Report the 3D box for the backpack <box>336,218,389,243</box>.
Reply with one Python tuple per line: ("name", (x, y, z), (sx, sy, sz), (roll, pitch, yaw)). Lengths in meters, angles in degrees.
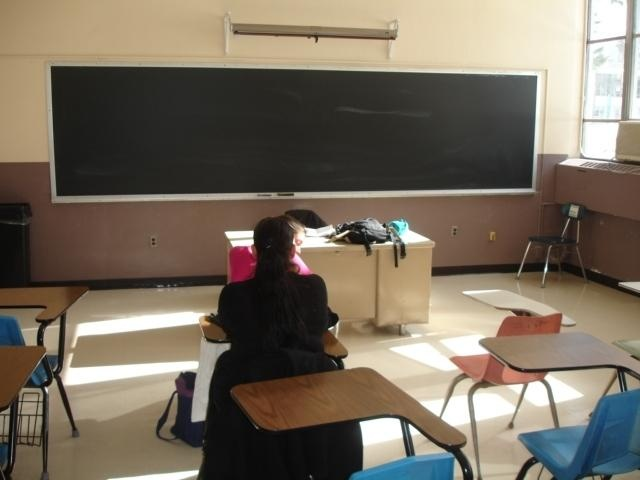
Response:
("backpack", (0.451, -0.065, 4.818), (0.319, 0.144, 0.271), (1, 7, -22))
